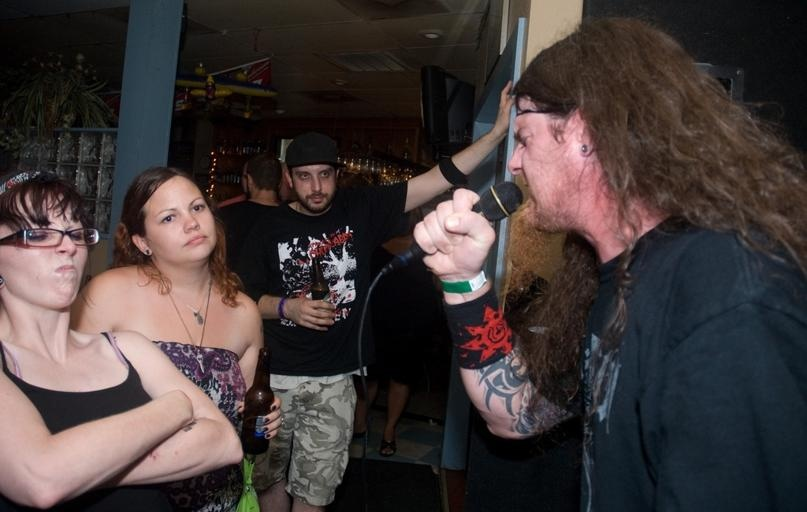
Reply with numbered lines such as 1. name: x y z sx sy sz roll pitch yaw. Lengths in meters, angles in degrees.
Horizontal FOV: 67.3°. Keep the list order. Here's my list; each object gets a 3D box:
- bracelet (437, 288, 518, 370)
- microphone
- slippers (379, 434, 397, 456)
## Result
1. bracelet: 0.256 0.244 2.148 0.261 0.260 0.222 -20 10 15
2. microphone: 0.231 -0.122 2.231 0.514 0.140 0.136 -38 41 -5
3. slippers: -0.115 1.346 4.339 0.111 0.087 0.325 0 -5 1
